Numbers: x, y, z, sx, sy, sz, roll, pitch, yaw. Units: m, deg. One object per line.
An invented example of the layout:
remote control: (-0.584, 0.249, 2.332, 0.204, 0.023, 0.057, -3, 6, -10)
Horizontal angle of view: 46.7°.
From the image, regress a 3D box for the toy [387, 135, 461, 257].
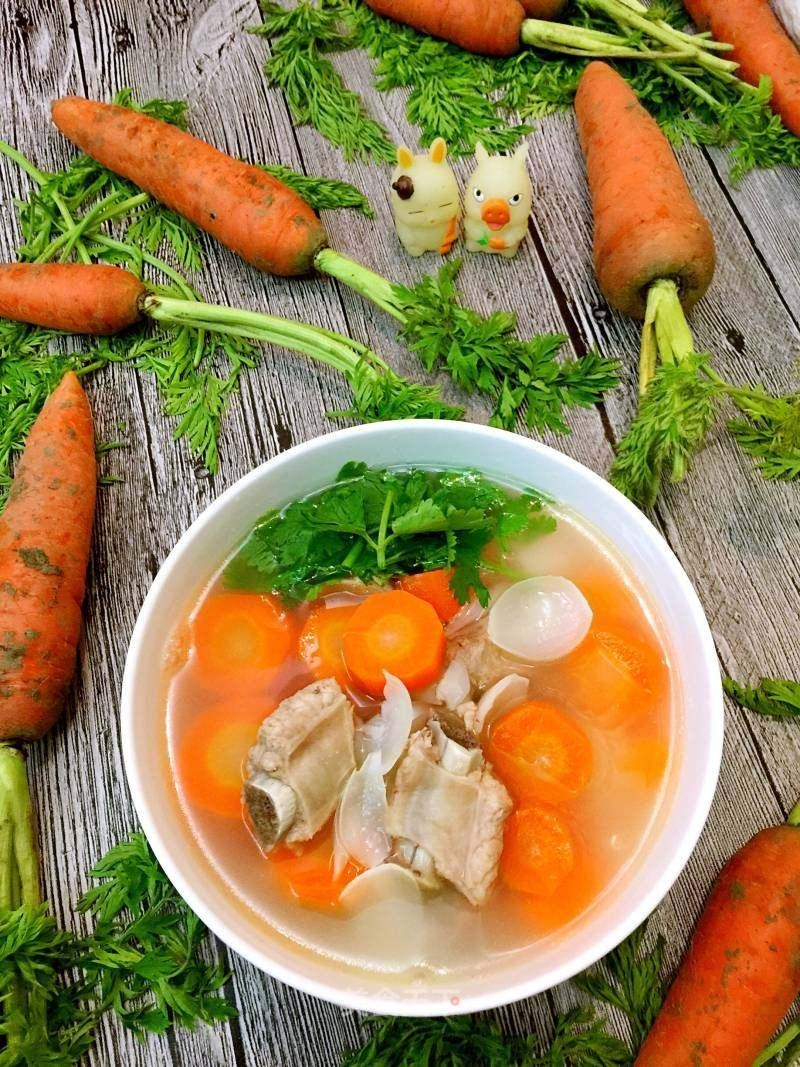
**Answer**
toy: (0.048, -0.659, 1.811, 0.148, 0.214, 0.134, 6, 52, 7)

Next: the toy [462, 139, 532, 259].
toy: (0.190, -0.664, 1.828, 0.140, 0.233, 0.187, 7, 78, 5)
